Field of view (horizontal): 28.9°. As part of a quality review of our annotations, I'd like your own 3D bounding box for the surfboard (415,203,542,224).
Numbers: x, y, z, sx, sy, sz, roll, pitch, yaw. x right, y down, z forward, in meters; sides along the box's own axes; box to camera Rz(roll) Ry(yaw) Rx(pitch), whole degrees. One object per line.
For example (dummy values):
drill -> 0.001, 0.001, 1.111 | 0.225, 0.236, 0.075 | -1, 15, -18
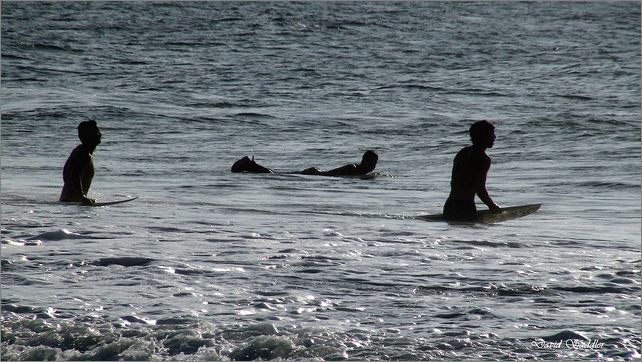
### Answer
surfboard -> 15.048, 2.984, 116.236 | 14.214, 1.376, 0.971 | -3, 34, -3
